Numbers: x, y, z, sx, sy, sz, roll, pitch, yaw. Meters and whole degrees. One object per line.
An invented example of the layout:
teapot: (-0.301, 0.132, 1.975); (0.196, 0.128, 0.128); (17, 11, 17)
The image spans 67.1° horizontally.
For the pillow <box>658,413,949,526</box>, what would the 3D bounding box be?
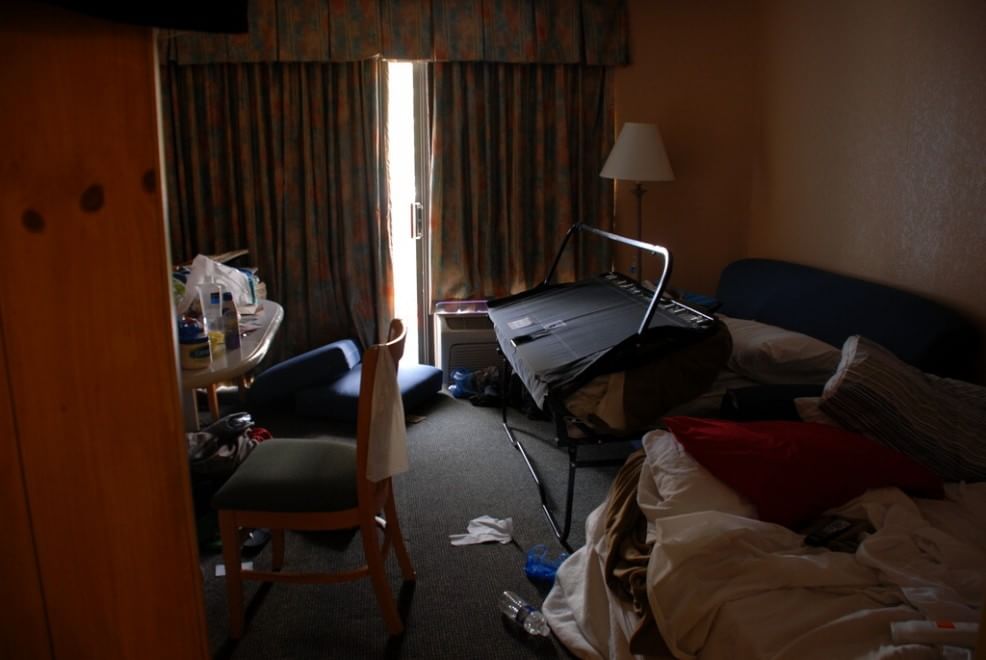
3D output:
pillow: (0.944, 0.422, 2.242); (0.778, 0.205, 0.373); (0, 16, 2)

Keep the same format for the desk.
desk: (-0.898, 0.151, 2.630); (0.305, 0.244, 1.011); (-12, -17, -20)

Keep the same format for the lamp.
lamp: (0.889, -0.776, 4.705); (0.421, 1.018, 0.561); (2, 16, 8)
